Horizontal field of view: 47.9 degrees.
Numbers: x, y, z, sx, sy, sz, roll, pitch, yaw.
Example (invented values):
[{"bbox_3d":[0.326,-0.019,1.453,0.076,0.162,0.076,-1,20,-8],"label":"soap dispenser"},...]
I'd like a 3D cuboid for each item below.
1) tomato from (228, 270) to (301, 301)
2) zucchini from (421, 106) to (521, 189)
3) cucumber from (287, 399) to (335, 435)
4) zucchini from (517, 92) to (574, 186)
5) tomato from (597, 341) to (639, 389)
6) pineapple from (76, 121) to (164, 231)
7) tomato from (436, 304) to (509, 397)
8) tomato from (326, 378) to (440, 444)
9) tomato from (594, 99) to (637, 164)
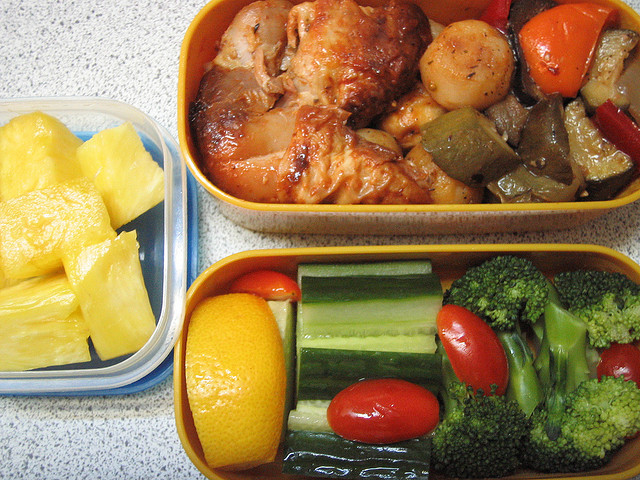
[{"bbox_3d":[-0.221,0.177,2.602,0.316,0.157,0.164,3,86,-13],"label":"tomato"},{"bbox_3d":[0.522,-0.318,2.539,0.370,0.169,0.198,33,69,14],"label":"zucchini"},{"bbox_3d":[-0.025,0.582,2.433,0.109,0.033,0.123,0,62,-5],"label":"cucumber"},{"bbox_3d":[0.791,-0.336,2.522,0.163,0.145,0.301,-10,66,-4],"label":"zucchini"},{"bbox_3d":[1.025,0.397,2.457,0.137,0.128,0.123,7,26,22],"label":"tomato"},{"bbox_3d":[-0.718,-0.248,2.663,0.265,0.378,0.270,-16,33,-23],"label":"pineapple"},{"bbox_3d":[0.511,0.347,2.429,0.176,0.099,0.324,-15,78,-14],"label":"tomato"},{"bbox_3d":[0.211,0.545,2.392,0.370,0.092,0.204,-2,66,-1],"label":"tomato"},{"bbox_3d":[1.077,-0.390,2.567,0.092,0.076,0.221,-37,71,-16],"label":"tomato"}]
